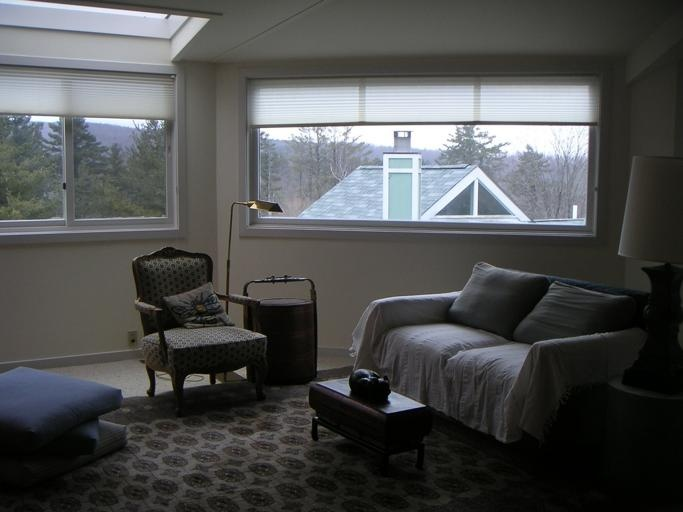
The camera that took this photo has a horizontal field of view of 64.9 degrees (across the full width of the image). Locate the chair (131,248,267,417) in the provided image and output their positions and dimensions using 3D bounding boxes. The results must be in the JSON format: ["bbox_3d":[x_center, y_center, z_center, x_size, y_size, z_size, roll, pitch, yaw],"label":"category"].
[{"bbox_3d":[-1.161,0.520,4.265,0.876,1.199,0.915,-1,0,-41],"label":"chair"}]

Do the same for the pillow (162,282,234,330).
[{"bbox_3d":[-1.140,0.405,4.378,0.542,0.588,0.149,8,21,-8],"label":"pillow"}]
